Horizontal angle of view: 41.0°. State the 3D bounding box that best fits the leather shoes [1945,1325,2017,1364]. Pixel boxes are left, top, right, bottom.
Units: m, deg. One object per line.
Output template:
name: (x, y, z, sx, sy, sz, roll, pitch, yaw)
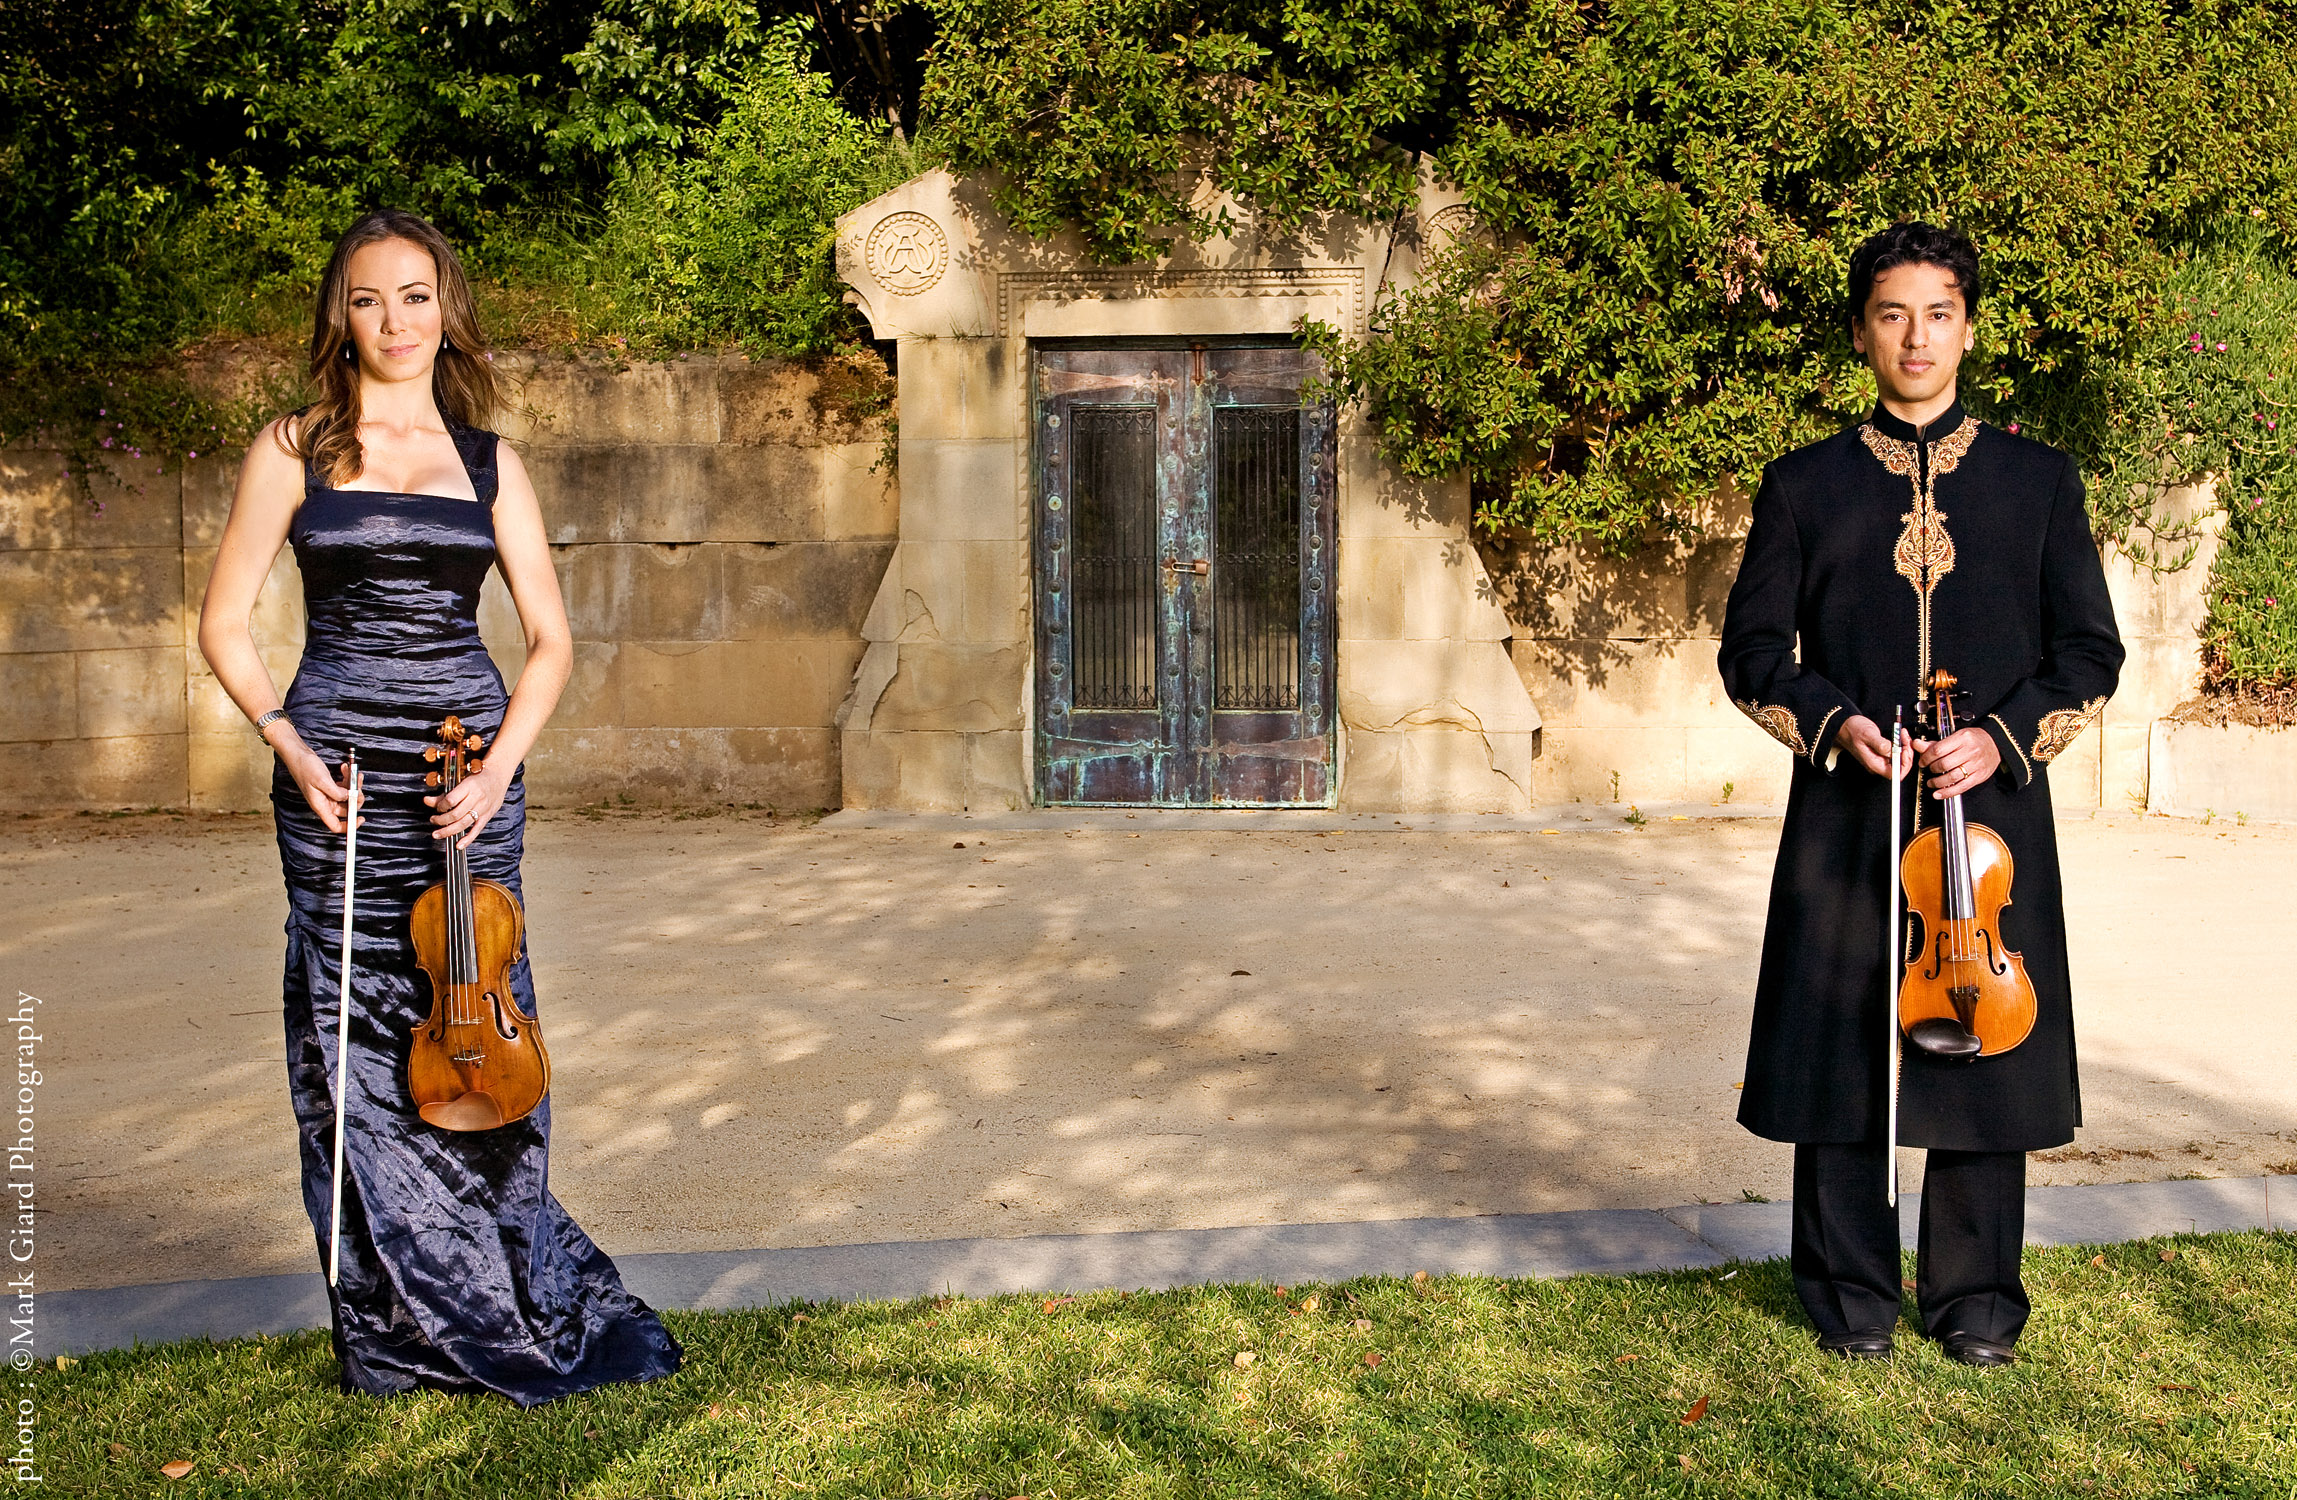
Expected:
leather shoes: (3.233, 2.313, 11.880, 0.212, 0.073, 0.121, 2, 4, 35)
